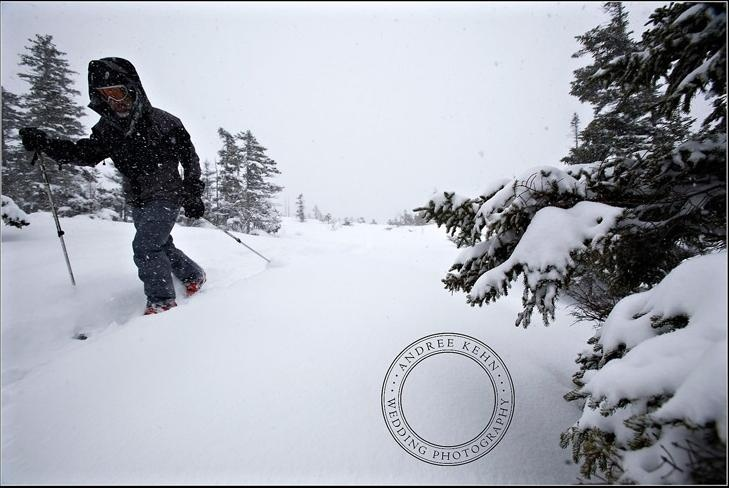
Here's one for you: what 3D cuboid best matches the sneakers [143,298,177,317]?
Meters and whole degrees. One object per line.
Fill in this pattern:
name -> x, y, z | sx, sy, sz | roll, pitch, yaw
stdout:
sneakers -> -3.565, 1.083, 9.278 | 0.437, 0.166, 0.272 | -9, 13, -15
